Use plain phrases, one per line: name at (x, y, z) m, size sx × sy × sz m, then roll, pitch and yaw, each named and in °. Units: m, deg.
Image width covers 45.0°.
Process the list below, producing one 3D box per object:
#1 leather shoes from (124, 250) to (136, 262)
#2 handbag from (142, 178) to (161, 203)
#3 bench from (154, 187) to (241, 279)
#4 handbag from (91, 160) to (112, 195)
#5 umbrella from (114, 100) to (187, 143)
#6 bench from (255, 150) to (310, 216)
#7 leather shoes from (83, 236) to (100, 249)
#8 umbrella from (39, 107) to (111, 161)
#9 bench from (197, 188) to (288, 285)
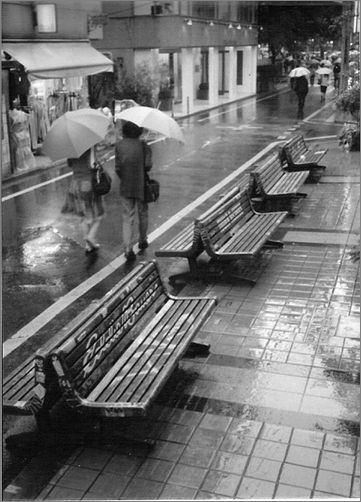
leather shoes at (-0.749, 0.078, 6.429) m, size 0.169 × 0.181 × 0.119 m, roll 0°, pitch 13°, yaw 0°
handbag at (-0.430, -0.903, 6.394) m, size 0.268 × 0.491 × 0.341 m, roll 4°, pitch 10°, yaw 15°
bench at (0.221, -0.248, 6.443) m, size 0.459 × 0.592 × 1.600 m, roll 10°, pitch 26°, yaw 24°
handbag at (-1.210, -1.021, 6.782) m, size 0.251 × 0.470 × 0.320 m, roll -8°, pitch -1°, yaw 1°
umbrella at (-0.468, -1.894, 6.225) m, size 0.716 × 0.258 × 0.748 m, roll 32°, pitch 13°, yaw 25°
bench at (2.113, -1.365, 8.960) m, size 0.627 × 0.706 × 1.819 m, roll 4°, pitch 26°, yaw 15°
leather shoes at (-1.418, -0.111, 6.900) m, size 0.118 × 0.228 × 0.237 m, roll 16°, pitch 29°, yaw 29°
umbrella at (-1.685, -1.825, 6.587) m, size 0.914 × 0.331 × 0.964 m, roll -14°, pitch 33°, yaw 3°
bench at (0.937, -0.268, 6.072) m, size 0.714 × 0.787 × 2.102 m, roll 10°, pitch 23°, yaw 23°
